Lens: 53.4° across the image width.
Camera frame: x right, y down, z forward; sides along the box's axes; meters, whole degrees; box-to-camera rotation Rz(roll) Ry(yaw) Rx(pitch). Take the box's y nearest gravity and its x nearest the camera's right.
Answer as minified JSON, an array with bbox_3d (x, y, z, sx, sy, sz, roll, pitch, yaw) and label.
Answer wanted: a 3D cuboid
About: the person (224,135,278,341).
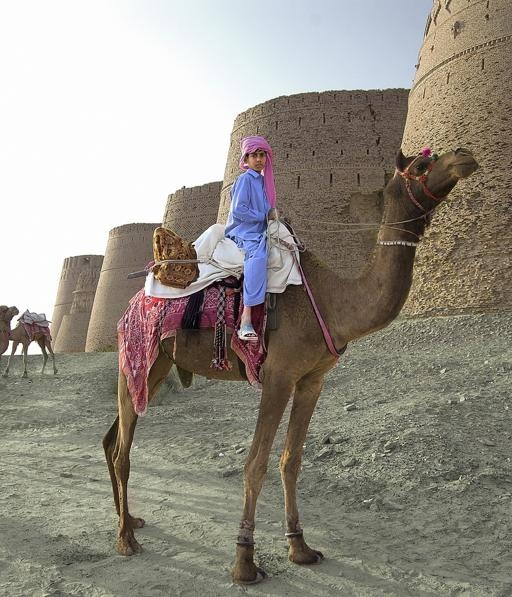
[{"bbox_3d":[-0.024,-0.344,2.851,0.447,1.047,0.486,1,3,19],"label":"person"}]

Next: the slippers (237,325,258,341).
[{"bbox_3d":[-0.039,0.173,2.540,0.094,0.054,0.152,0,-3,-4],"label":"slippers"}]
